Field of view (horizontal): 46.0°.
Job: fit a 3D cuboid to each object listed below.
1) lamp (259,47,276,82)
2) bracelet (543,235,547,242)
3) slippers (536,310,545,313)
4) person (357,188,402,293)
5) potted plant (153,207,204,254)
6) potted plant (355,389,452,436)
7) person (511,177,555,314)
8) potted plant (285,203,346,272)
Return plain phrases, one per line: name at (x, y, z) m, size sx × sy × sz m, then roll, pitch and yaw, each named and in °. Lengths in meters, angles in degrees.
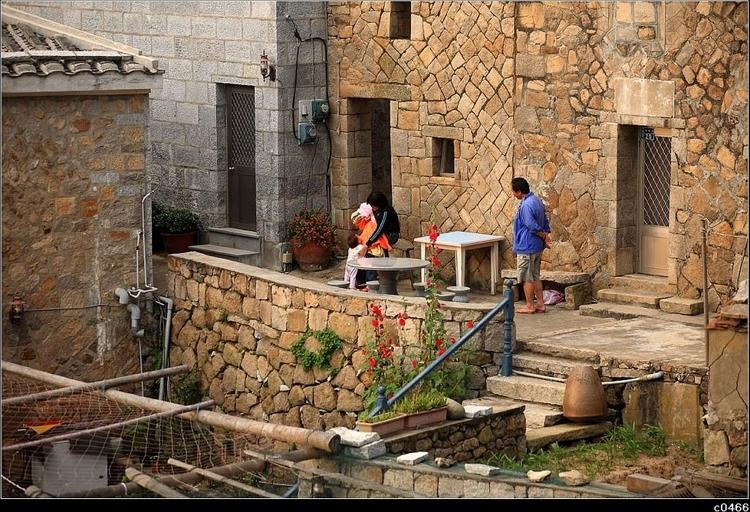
lamp at (-2.074, -3.734, 17.337) m, size 0.423 × 0.635 × 0.193 m, roll 7°, pitch 10°, yaw 44°
bracelet at (2.731, -0.292, 14.213) m, size 0.072 × 0.101 × 0.037 m, roll -1°, pitch 10°, yaw 8°
slippers at (2.691, 0.892, 14.298) m, size 0.102 × 0.043 × 0.056 m, roll 0°, pitch 10°, yaw 0°
person at (0.086, -0.300, 15.449) m, size 0.885 × 1.526 × 0.588 m, roll 0°, pitch 4°, yaw -17°
potted plant at (-4.092, -0.613, 18.862) m, size 1.036 × 1.055 × 0.985 m, roll 2°, pitch 6°, yaw 12°
potted plant at (0.369, 1.945, 10.801) m, size 1.339 × 0.344 × 0.452 m, roll -5°, pitch 9°, yaw -34°
person at (2.507, -0.168, 14.269) m, size 0.616 × 2.158 × 0.400 m, roll 0°, pitch 7°, yaw -6°
potted plant at (-1.185, -0.315, 17.661) m, size 0.990 × 1.213 × 0.745 m, roll -2°, pitch 7°, yaw -17°
